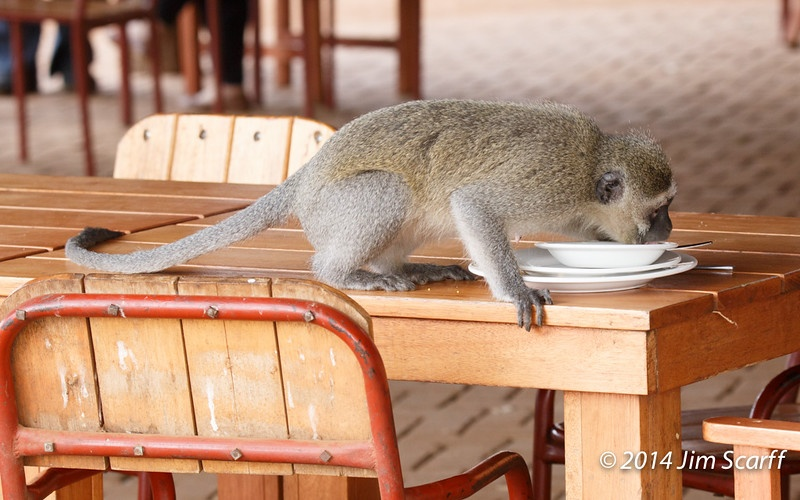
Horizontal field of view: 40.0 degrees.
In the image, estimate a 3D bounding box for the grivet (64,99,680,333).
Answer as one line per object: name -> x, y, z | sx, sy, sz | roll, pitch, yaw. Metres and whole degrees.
grivet -> -0.053, -0.061, 2.648 | 1.458, 0.348, 0.509 | 4, 44, 11
